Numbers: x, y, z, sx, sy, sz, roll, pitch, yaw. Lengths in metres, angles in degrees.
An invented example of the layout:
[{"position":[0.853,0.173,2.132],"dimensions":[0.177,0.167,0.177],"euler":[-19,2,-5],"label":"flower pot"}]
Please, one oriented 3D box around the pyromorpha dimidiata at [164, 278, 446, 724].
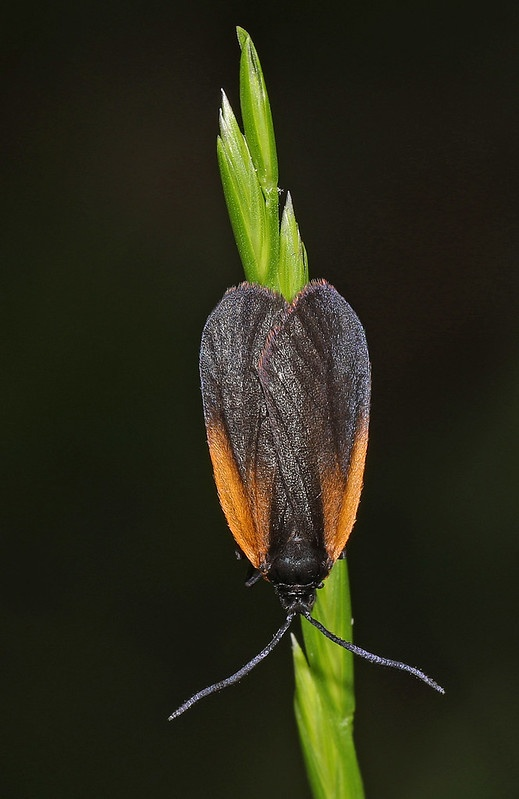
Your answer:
[{"position":[0.021,0.066,0.713],"dimensions":[0.201,0.073,0.402],"euler":[3,53,-6],"label":"pyromorpha dimidiata"}]
